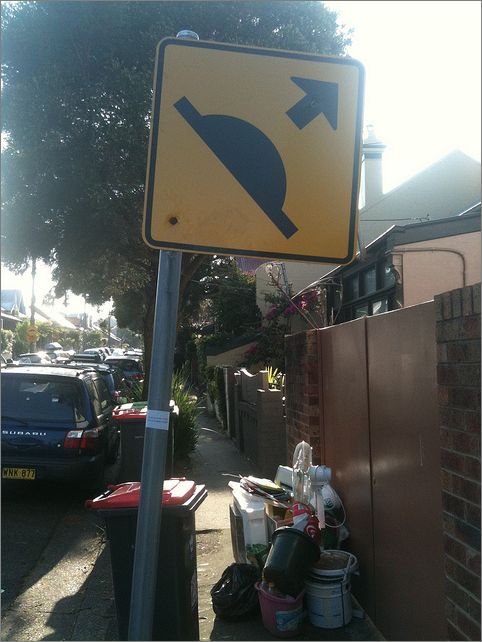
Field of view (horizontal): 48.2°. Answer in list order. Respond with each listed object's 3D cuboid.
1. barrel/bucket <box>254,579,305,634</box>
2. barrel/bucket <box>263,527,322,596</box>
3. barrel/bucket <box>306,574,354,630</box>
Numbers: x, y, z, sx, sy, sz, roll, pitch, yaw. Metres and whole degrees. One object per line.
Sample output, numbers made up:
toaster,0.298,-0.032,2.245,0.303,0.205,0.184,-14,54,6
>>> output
barrel/bucket,0.230,1.745,3.279,0.258,0.247,0.245,1,-4,0
barrel/bucket,0.307,1.434,3.248,0.274,0.259,0.308,10,-34,19
barrel/bucket,0.542,1.741,3.406,0.254,0.314,0.283,-6,9,-9
